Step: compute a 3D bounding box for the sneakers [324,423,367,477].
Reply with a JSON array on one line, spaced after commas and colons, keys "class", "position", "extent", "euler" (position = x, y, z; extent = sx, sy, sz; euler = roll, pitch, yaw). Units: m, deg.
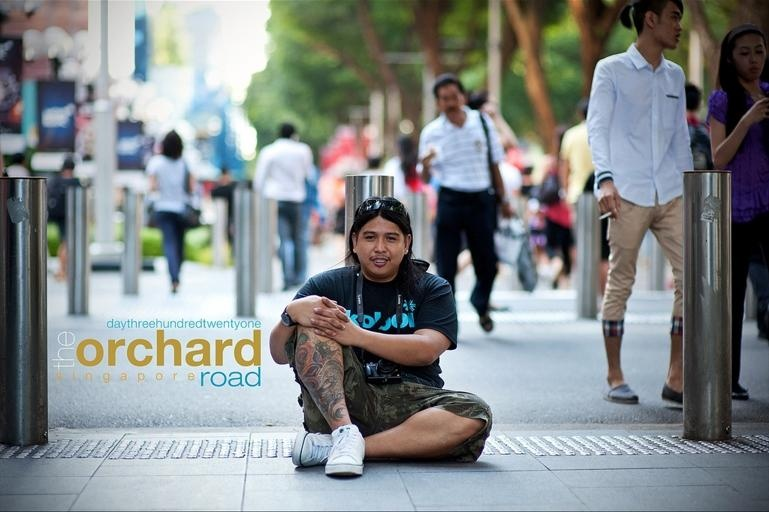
[{"class": "sneakers", "position": [-0.251, 1.311, 6.667], "extent": [0.242, 0.297, 0.680], "euler": [6, -6, 3]}]

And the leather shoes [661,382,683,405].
[{"class": "leather shoes", "position": [2.303, 1.130, 8.086], "extent": [0.227, 0.104, 0.081], "euler": [16, 6, -15]}]

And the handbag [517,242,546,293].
[{"class": "handbag", "position": [1.768, 0.126, 12.519], "extent": [0.248, 0.546, 1.248], "euler": [-1, 1, 8]}]
